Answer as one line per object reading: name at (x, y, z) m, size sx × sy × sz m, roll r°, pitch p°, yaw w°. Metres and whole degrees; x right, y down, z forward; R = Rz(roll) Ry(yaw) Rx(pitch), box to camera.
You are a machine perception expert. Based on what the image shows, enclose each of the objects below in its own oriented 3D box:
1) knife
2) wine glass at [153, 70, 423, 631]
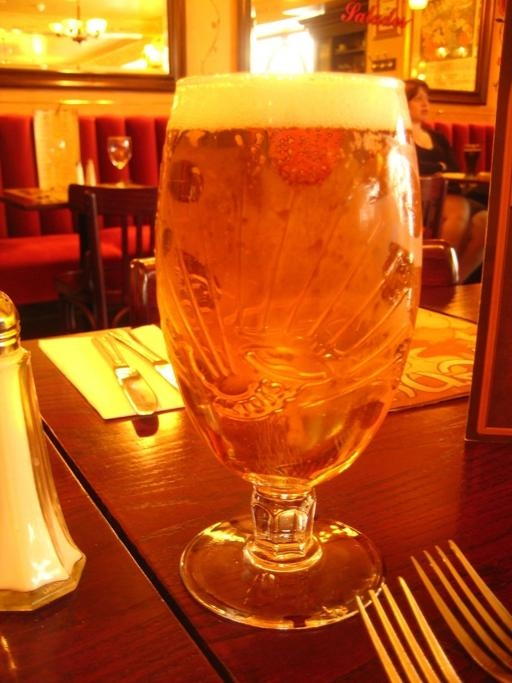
knife at (-0.100, 0.015, 0.465) m, size 0.048 × 0.006 × 0.155 m, roll -7°, pitch 15°, yaw -20°
wine glass at (0.012, 0.001, 0.203) m, size 0.086 × 0.178 × 0.089 m, roll -6°, pitch 10°, yaw -21°
